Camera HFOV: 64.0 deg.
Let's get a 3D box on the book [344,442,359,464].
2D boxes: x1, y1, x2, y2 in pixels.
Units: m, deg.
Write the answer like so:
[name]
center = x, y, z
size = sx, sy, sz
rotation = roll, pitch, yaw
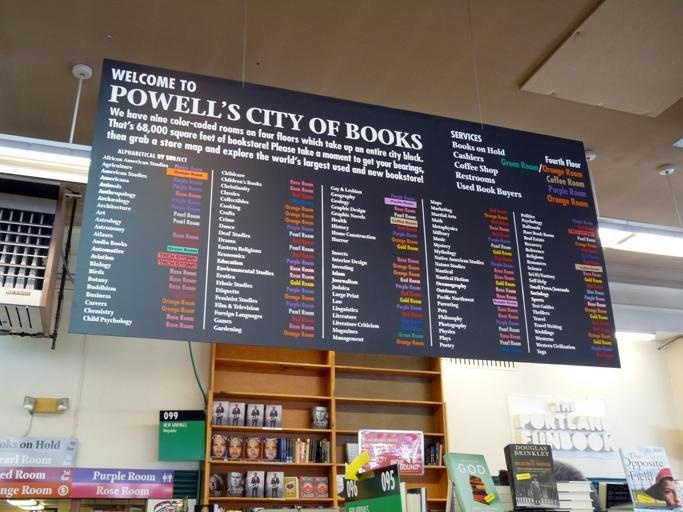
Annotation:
[book]
center = 0.104, 2.116, 5.897
size = 0.149, 0.206, 0.204
rotation = -1, -21, 0
